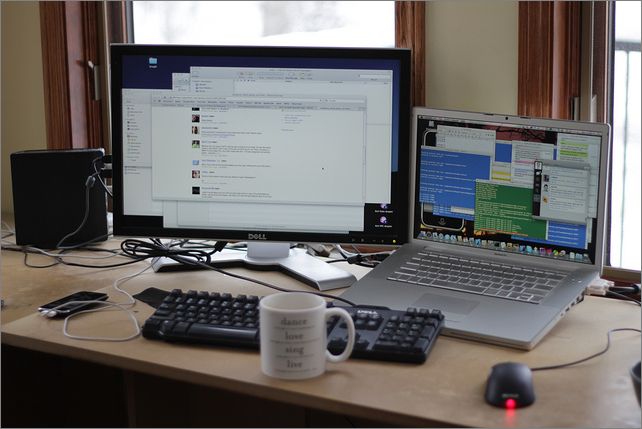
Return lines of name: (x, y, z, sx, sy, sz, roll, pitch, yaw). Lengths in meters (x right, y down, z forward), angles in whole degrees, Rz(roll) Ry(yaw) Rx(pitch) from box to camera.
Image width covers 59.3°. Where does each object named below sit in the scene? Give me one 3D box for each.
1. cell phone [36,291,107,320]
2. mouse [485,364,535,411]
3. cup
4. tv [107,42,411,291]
cell phone: (-0.609, 0.213, 1.387, 0.064, 0.014, 0.107, 9, 17, 32)
mouse: (0.389, 0.328, 1.147, 0.104, 0.053, 0.169, -5, 6, 19)
cup: (-0.046, 0.248, 1.213, 0.229, 0.149, 0.136, 2, 3, -2)
tv: (-0.161, -0.143, 1.515, 0.751, 0.480, 0.272, 1, 7, 5)
